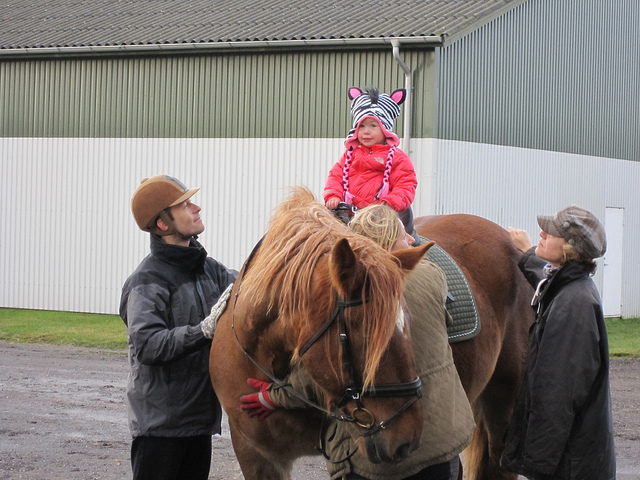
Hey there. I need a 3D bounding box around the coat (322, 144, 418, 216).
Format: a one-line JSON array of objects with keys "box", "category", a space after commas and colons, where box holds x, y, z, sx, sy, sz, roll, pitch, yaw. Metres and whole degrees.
[{"box": [0.706, -0.847, 16.878, 1.231, 1.097, 0.713, 4, -8, 19], "category": "coat"}]
